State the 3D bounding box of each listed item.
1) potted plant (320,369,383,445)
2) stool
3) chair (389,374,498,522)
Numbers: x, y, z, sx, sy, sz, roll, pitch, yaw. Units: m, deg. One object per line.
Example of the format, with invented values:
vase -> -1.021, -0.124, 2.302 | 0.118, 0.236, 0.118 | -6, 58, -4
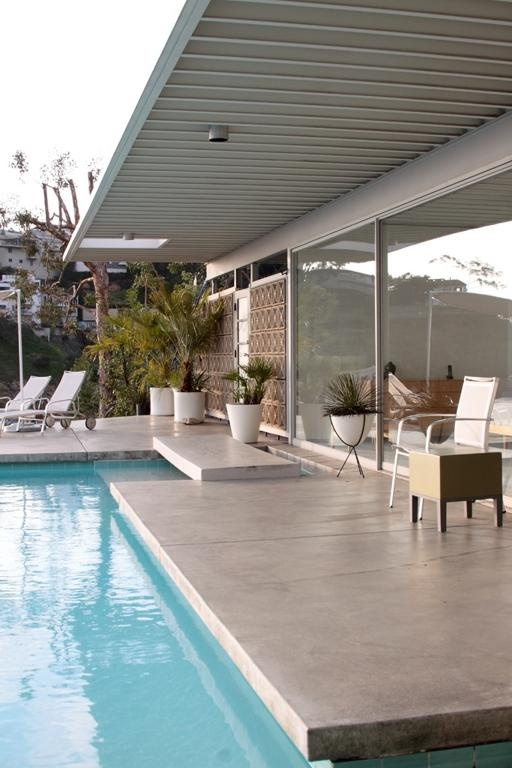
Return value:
potted plant -> 1.177, 0.296, 7.179 | 0.631, 0.872, 0.565 | 0, 9, -24
stool -> 1.450, 0.731, 4.309 | 0.586, 0.659, 0.605 | 2, -5, -12
chair -> 1.503, 0.540, 4.651 | 0.849, 1.148, 0.824 | -2, -2, 18
